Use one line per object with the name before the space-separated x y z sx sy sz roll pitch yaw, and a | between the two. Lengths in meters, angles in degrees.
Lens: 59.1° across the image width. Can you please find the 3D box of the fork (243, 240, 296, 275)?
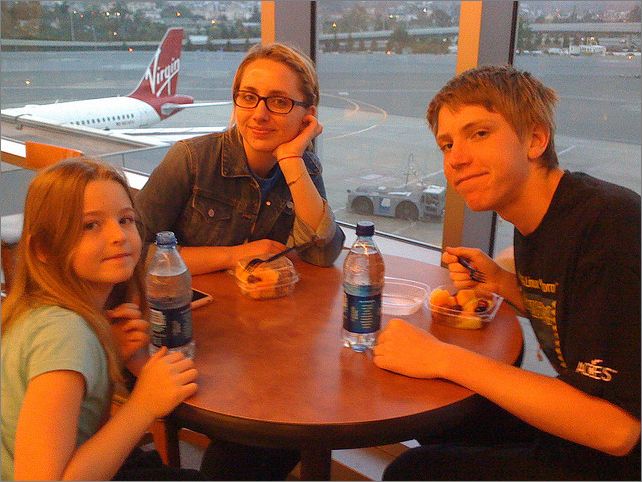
fork | -0.141 0.049 1.804 0.047 0.036 0.324 27 18 17

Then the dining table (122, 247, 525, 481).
dining table | -0.025 0.147 1.445 0.690 0.453 0.621 -3 21 -7

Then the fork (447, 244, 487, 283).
fork | 0.460 0.082 1.772 0.049 0.169 0.040 -45 -11 -21
